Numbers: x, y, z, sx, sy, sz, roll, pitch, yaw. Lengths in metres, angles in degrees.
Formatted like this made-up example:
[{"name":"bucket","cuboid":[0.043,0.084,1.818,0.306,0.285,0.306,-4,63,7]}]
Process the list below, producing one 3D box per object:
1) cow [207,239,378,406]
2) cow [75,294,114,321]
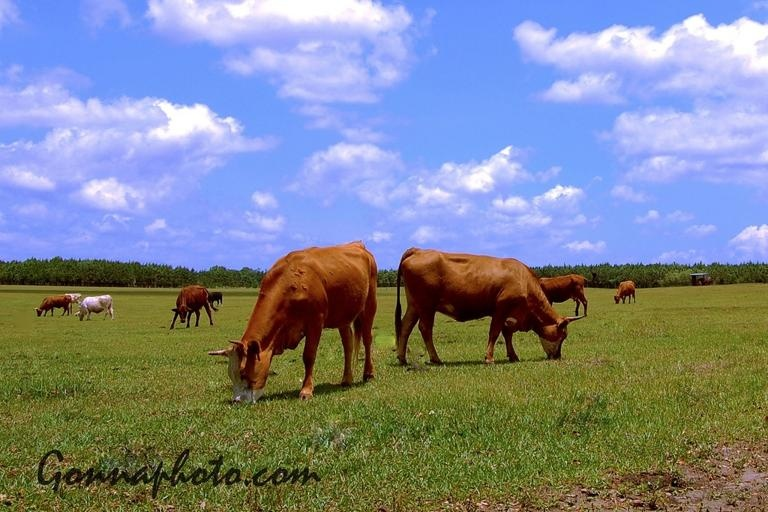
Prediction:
[{"name":"cow","cuboid":[-2.155,1.835,19.767,1.928,4.242,6.676,-2,3,31]},{"name":"cow","cuboid":[-19.666,3.495,48.571,1.903,1.645,3.178,2,-5,-29]}]
